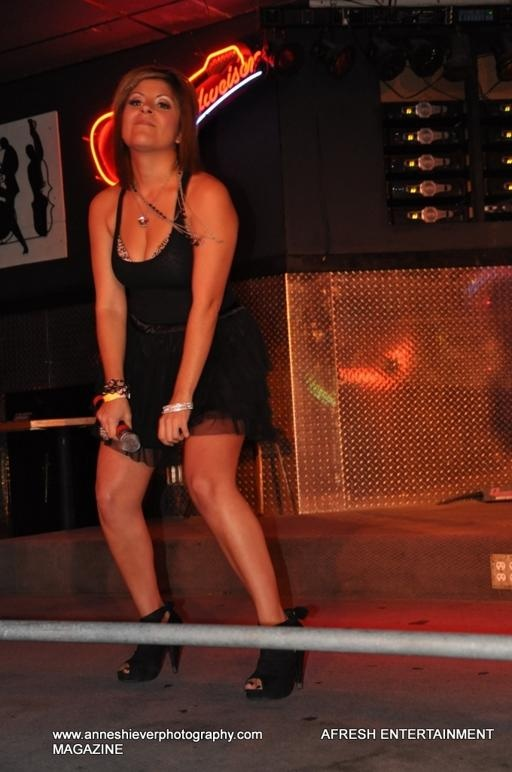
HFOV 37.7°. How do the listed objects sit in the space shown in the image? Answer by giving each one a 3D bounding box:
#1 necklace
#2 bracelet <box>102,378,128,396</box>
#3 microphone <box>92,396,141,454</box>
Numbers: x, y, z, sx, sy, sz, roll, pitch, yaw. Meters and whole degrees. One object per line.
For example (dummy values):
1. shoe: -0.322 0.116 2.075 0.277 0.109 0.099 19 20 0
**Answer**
1. necklace: -0.139 -0.366 1.576 0.199 0.131 0.087 24 26 27
2. bracelet: -0.301 0.003 1.593 0.044 0.033 0.015 -10 44 -3
3. microphone: -0.263 0.087 1.584 0.051 0.082 0.146 -34 45 -28
